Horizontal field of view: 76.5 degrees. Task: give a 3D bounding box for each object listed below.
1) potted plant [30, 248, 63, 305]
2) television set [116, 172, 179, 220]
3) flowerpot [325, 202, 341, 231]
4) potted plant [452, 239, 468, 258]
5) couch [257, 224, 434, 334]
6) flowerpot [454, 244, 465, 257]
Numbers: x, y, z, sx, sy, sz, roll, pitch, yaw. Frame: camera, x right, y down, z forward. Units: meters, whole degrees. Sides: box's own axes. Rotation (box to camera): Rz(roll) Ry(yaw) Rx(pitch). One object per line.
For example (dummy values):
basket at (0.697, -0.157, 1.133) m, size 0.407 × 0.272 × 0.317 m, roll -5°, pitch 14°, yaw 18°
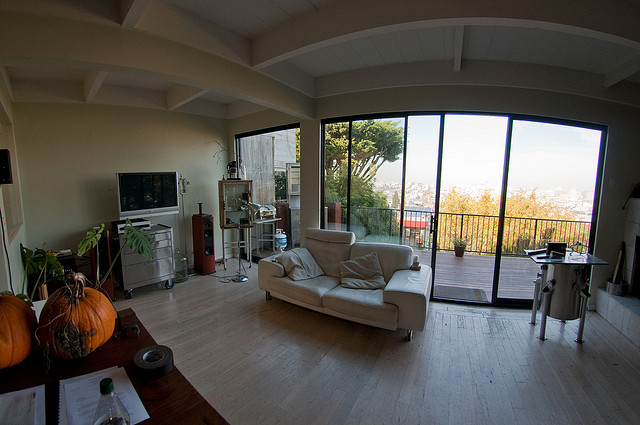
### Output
potted plant at (-3.522, 0.849, 5.236) m, size 0.340 × 0.728 × 1.746 m, roll -3°, pitch 6°, yaw -33°
television set at (-2.793, -0.274, 6.625) m, size 0.933 × 0.752 × 0.116 m, roll -4°, pitch 6°, yaw -39°
flowerpot at (0.283, 0.061, 6.877) m, size 0.315 × 0.458 × 0.299 m, roll -4°, pitch 4°, yaw -14°
potted plant at (2.665, 0.698, 7.797) m, size 0.261 × 0.384 × 0.222 m, roll 1°, pitch 5°, yaw 10°
couch at (0.382, 0.928, 5.892) m, size 2.346 × 1.219 × 0.922 m, roll 2°, pitch 5°, yaw 23°
flowerpot at (2.677, 0.750, 7.846) m, size 0.185 × 0.248 × 0.137 m, roll 2°, pitch 5°, yaw 18°
